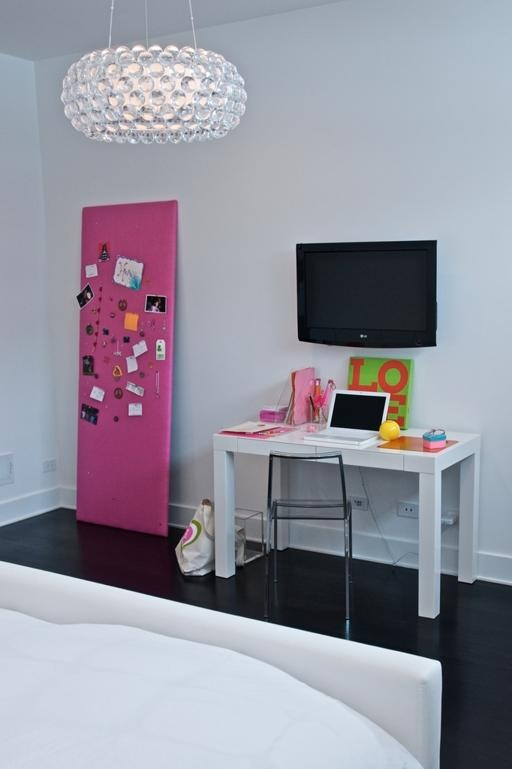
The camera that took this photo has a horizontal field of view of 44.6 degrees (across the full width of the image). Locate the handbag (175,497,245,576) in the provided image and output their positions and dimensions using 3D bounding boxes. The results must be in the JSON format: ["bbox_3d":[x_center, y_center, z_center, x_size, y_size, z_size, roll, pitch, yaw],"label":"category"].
[{"bbox_3d":[-0.241,0.868,3.528,0.209,0.365,0.397,4,0,34],"label":"handbag"}]

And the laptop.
[{"bbox_3d":[0.477,0.175,3.246,0.310,0.221,0.315,4,10,37],"label":"laptop"}]

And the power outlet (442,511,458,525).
[{"bbox_3d":[1.030,0.712,3.308,0.075,0.077,0.019,7,-10,29],"label":"power outlet"}]

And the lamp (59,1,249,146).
[{"bbox_3d":[-0.367,-1.004,2.149,0.651,0.229,0.512,-5,6,2],"label":"lamp"}]

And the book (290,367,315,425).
[{"bbox_3d":[0.276,0.073,3.604,0.104,0.356,0.292,2,4,24],"label":"book"}]
